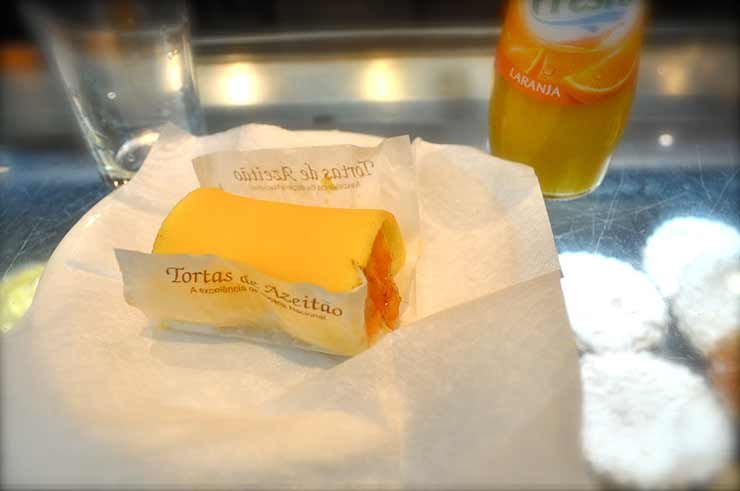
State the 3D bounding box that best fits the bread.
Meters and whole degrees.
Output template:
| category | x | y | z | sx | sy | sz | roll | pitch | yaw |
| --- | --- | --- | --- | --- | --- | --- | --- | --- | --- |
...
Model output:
| category | x | y | z | sx | sy | sz | roll | pitch | yaw |
| --- | --- | --- | --- | --- | --- | --- | --- | --- | --- |
| bread | -0.083 | 0.028 | 0.663 | 0.244 | 0.082 | 0.148 | 8 | 54 | 8 |
